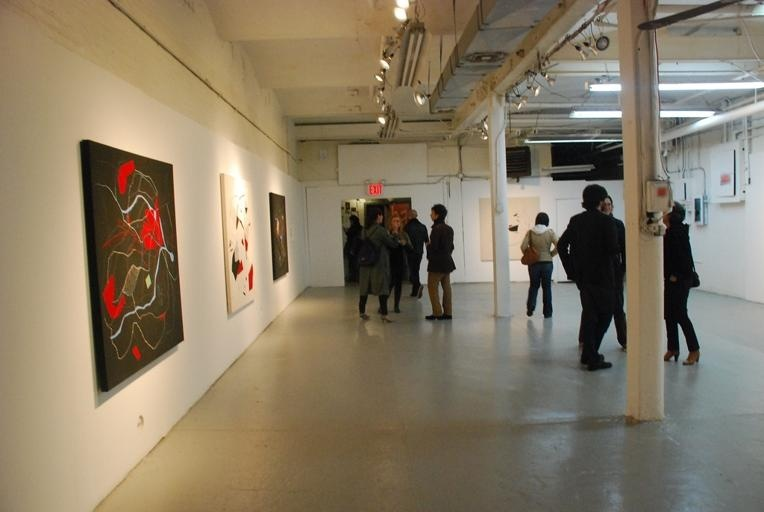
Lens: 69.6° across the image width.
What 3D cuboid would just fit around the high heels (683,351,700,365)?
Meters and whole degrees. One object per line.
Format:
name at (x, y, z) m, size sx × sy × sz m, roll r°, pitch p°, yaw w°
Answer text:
high heels at (3.591, 1.169, 6.343) m, size 0.277 × 0.148 × 0.094 m, roll 0°, pitch -4°, yaw -32°

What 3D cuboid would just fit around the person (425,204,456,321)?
person at (0.932, 0.109, 8.799) m, size 0.460 × 1.847 × 0.525 m, roll 2°, pitch 8°, yaw 28°

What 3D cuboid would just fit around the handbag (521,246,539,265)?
handbag at (2.342, -0.021, 8.648) m, size 0.232 × 0.380 × 0.162 m, roll 2°, pitch 8°, yaw 22°

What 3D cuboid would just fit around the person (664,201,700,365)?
person at (3.400, 0.316, 6.243) m, size 0.383 × 1.800 × 0.227 m, roll 1°, pitch 7°, yaw 18°

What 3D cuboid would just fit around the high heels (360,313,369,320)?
high heels at (-0.282, 1.034, 9.289) m, size 0.170 × 0.127 × 0.061 m, roll -4°, pitch -4°, yaw 43°

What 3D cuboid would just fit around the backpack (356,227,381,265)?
backpack at (-0.232, -0.117, 8.728) m, size 0.307 × 0.476 × 0.158 m, roll -12°, pitch -6°, yaw 30°

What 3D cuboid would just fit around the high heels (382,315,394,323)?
high heels at (0.099, 1.016, 8.955) m, size 0.216 × 0.122 × 0.073 m, roll -3°, pitch 1°, yaw -41°

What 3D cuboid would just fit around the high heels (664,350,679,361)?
high heels at (3.359, 1.159, 6.381) m, size 0.243 × 0.133 × 0.085 m, roll 3°, pitch -2°, yaw -8°

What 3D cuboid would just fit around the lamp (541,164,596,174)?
lamp at (4.572, -2.152, 13.661) m, size 1.270 × 0.195 × 0.688 m, roll -3°, pitch 8°, yaw -10°

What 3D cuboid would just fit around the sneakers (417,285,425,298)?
sneakers at (0.816, 0.733, 11.275) m, size 0.094 × 0.306 × 0.190 m, roll 5°, pitch -2°, yaw -23°

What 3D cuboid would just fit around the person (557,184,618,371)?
person at (2.356, 0.240, 6.259) m, size 0.394 × 2.062 × 0.644 m, roll -4°, pitch 7°, yaw -18°
